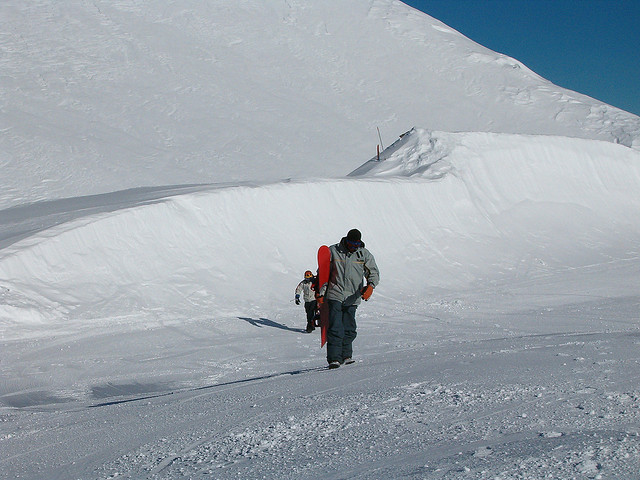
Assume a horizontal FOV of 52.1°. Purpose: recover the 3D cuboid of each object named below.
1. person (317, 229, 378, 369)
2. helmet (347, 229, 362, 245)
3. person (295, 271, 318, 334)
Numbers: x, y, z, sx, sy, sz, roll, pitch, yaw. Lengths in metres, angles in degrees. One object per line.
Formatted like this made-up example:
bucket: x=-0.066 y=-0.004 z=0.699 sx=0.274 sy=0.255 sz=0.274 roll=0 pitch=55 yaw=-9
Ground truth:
person: x=0.445 y=0.858 z=9.831 sx=1.004 sy=1.982 sz=0.645 roll=-11 pitch=8 yaw=1
helmet: x=0.514 y=-0.044 z=9.883 sx=0.203 sy=0.225 sz=0.186 roll=-9 pitch=7 yaw=7
person: x=-0.262 y=1.313 z=14.393 sx=0.496 sy=1.213 sz=1.544 roll=-13 pitch=7 yaw=-3
